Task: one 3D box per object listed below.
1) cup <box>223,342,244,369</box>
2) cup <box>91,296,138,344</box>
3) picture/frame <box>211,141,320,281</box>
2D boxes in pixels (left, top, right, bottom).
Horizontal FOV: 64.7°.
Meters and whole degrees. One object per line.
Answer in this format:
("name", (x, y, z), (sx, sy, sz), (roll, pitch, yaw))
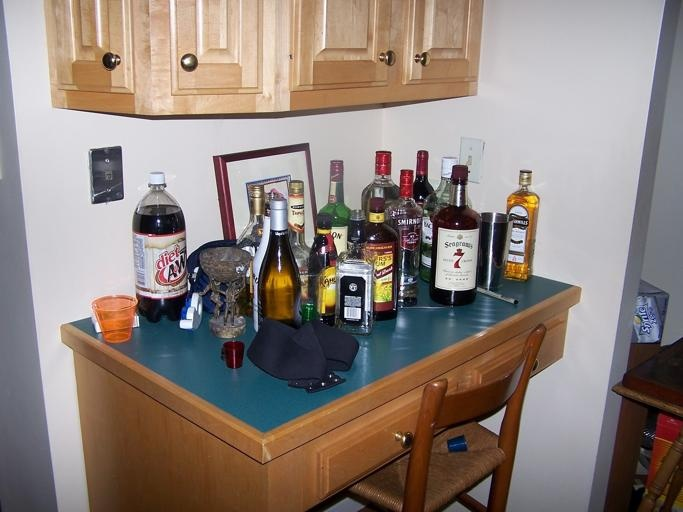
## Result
("cup", (-0.231, 0.214, 1.162), (0.044, 0.044, 0.054), (1, 2, 12))
("cup", (-0.530, 0.154, 1.272), (0.102, 0.091, 0.107), (0, 6, 0))
("picture/frame", (-0.219, -0.121, 1.448), (0.365, 0.325, 0.039), (-15, 18, -40))
